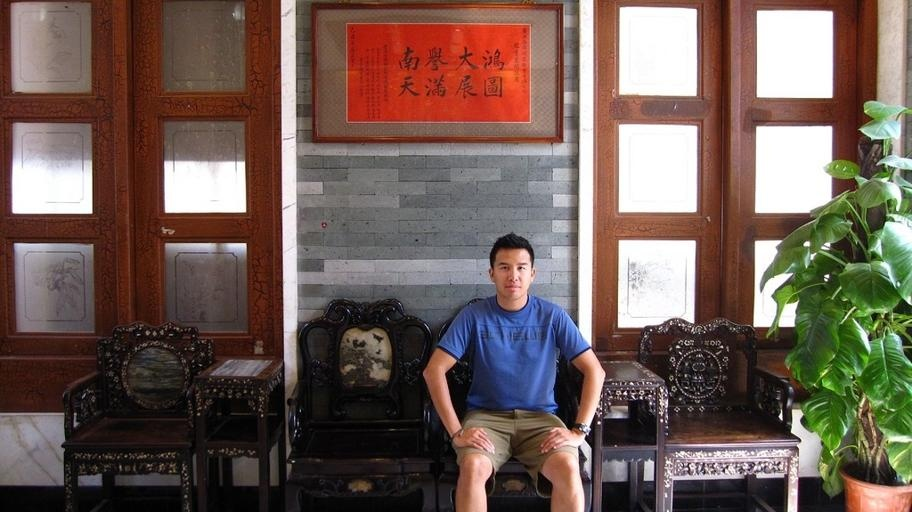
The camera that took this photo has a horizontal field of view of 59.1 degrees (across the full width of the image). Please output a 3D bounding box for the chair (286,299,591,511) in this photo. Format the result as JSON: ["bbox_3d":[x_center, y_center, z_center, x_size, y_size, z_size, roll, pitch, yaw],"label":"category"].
[{"bbox_3d":[-0.110,1.039,5.449,1.782,1.226,0.601,0,0,-2],"label":"chair"}]

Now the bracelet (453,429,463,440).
[{"bbox_3d":[0.015,1.173,5.270,0.020,0.062,0.063,50,9,35],"label":"bracelet"}]
